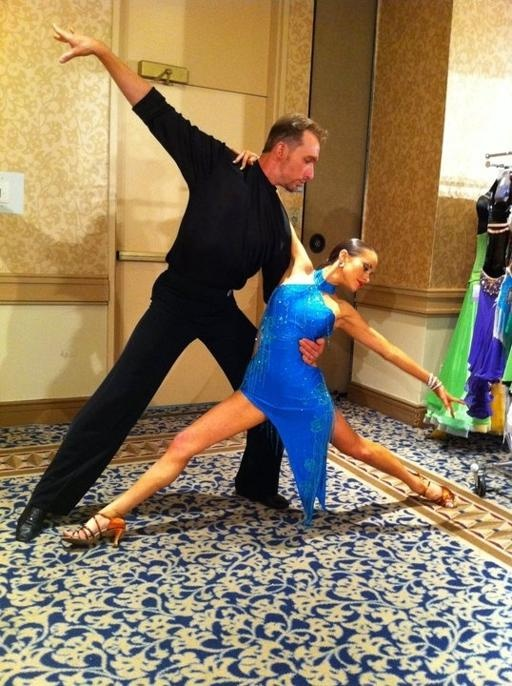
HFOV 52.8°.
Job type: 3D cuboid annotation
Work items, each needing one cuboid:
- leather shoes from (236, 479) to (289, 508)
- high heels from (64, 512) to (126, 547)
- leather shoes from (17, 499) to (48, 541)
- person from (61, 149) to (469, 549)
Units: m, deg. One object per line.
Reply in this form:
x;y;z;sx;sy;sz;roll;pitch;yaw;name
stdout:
0.031;0.656;2.231;0.237;0.088;0.087;8;13;25;leather shoes
-0.542;0.635;1.747;0.233;0.120;0.084;5;-30;-19;high heels
-0.767;0.610;1.803;0.058;0.069;0.168;26;8;-19;leather shoes
0.016;0.117;1.943;1.568;1.034;0.644;-3;9;-28;person
